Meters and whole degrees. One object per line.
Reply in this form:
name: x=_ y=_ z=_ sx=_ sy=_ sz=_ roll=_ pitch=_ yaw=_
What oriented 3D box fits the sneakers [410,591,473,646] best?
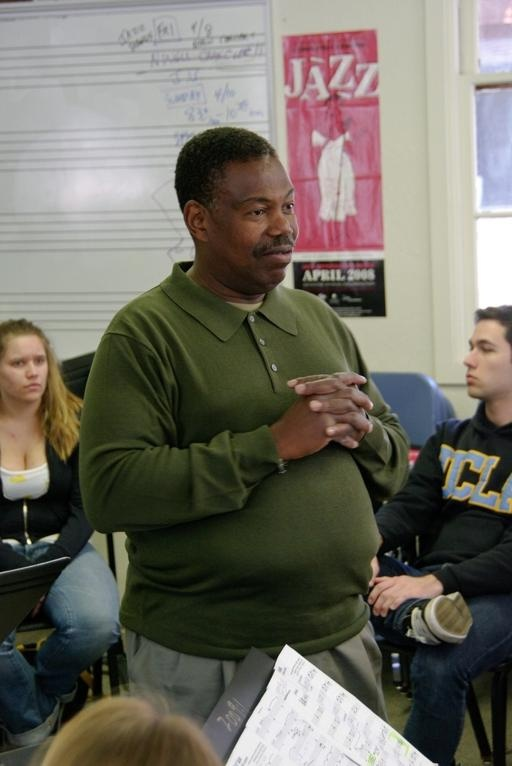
sneakers: x=0.430 y=0.562 z=1.632 sx=0.054 sy=0.099 sz=0.171 roll=-14 pitch=-7 yaw=-9
